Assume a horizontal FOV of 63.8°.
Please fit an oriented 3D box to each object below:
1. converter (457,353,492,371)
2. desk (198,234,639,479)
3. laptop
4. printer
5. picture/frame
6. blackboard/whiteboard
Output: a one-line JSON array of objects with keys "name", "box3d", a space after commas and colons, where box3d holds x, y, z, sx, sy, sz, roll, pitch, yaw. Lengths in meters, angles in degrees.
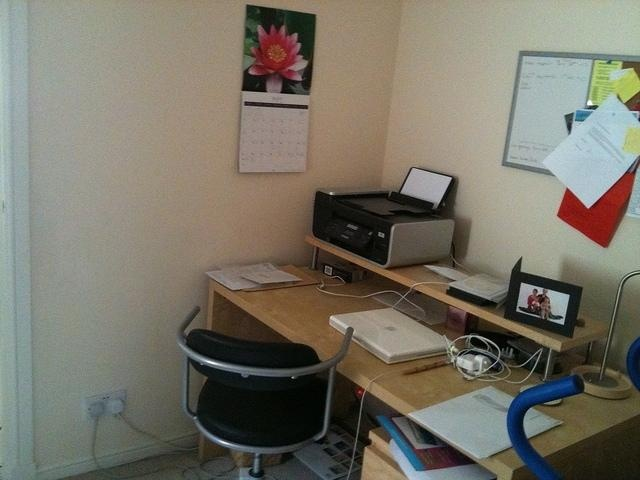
[{"name": "converter", "box3d": [0.592, 0.473, 2.000, 0.079, 0.038, 0.080, -1, 5, -31]}, {"name": "desk", "box3d": [0.417, 0.452, 2.097, 0.597, 0.751, 1.133, -5, 15, -36]}, {"name": "laptop", "box3d": [0.323, 0.370, 2.254, 0.330, 0.045, 0.378, -14, -43, 42]}, {"name": "printer", "box3d": [0.372, -0.112, 2.652, 0.543, 0.429, 0.650, -4, 16, -29]}, {"name": "picture/frame", "box3d": [0.860, 0.258, 1.978, 0.257, 0.196, 0.018, 18, 21, 28]}, {"name": "blackboard/whiteboard", "box3d": [1.097, -0.546, 2.198, 0.569, 0.600, 0.042, 9, 12, 44]}]
